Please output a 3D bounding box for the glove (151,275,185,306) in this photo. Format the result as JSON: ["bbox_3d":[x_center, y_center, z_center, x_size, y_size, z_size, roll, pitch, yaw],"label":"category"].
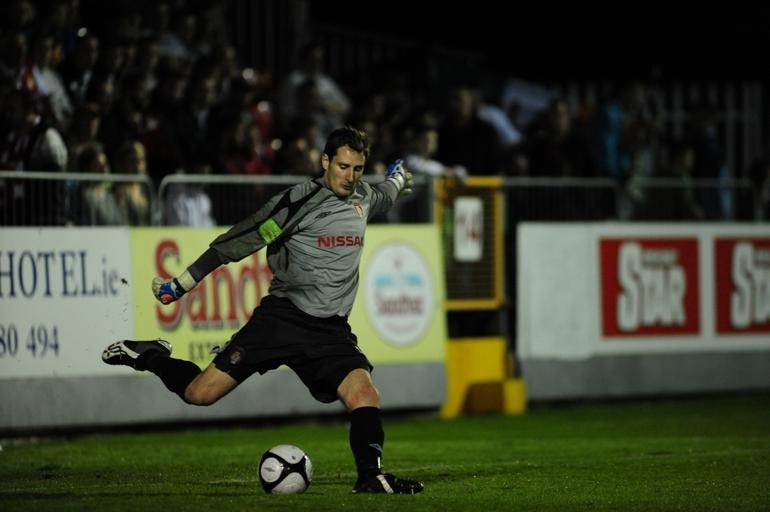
[{"bbox_3d":[-2.136,0.330,12.239,0.370,0.193,0.179,-5,-16,-15],"label":"glove"}]
